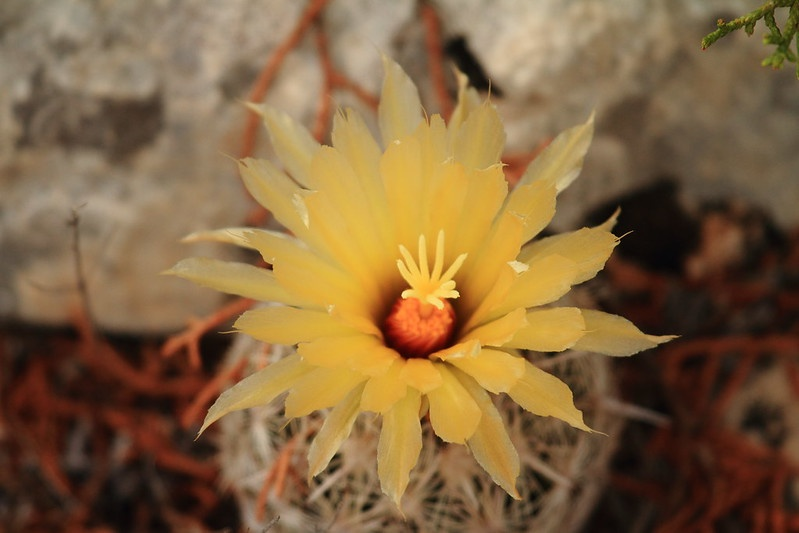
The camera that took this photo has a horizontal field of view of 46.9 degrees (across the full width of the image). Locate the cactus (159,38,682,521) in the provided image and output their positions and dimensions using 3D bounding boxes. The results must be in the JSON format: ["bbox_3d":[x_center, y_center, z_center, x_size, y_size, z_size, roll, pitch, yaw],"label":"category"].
[{"bbox_3d":[0.028,0.064,1.678,0.757,0.474,0.754,-19,82,0],"label":"cactus"}]
